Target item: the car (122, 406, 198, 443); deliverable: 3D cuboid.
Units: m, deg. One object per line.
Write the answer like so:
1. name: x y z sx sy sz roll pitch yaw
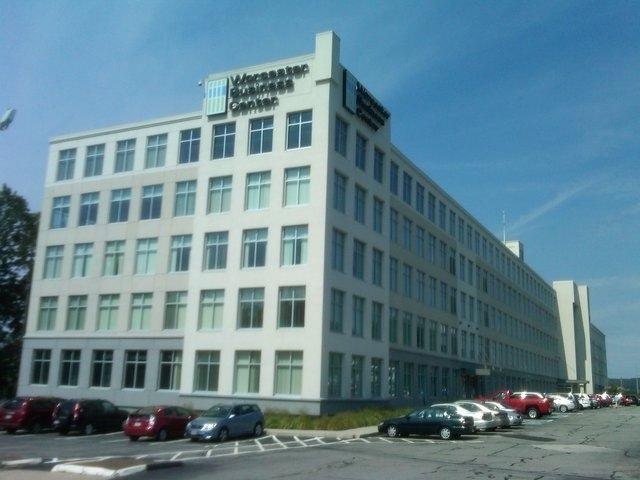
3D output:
1. car: -9.031 10.105 33.049 3.336 1.877 1.486 8 -22 -23

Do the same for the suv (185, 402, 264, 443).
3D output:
1. suv: -5.180 10.125 33.248 1.344 2.115 4.339 -18 -26 38

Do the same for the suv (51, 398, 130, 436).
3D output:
1. suv: -13.925 10.584 35.863 1.217 2.044 3.625 -17 -25 37
